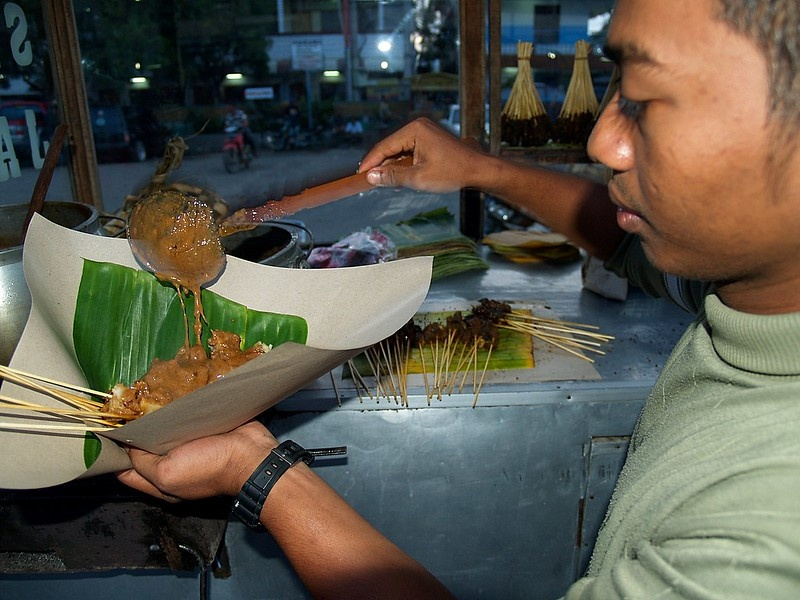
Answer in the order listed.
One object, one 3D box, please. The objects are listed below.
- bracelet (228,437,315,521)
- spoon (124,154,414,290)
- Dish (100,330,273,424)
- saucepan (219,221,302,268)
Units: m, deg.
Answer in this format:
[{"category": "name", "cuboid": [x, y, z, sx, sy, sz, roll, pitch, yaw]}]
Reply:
[{"category": "bracelet", "cuboid": [-0.284, 0.388, 1.511, 0.052, 0.145, 0.125, 38, -7, 20]}, {"category": "spoon", "cuboid": [-0.341, -0.224, 1.805, 0.707, 0.207, 0.273, -28, 8, -30]}, {"category": "Dish", "cuboid": [-0.516, 0.168, 1.664, 0.323, 0.078, 0.199, -27, 26, -39]}, {"category": "saucepan", "cuboid": [-0.481, -0.199, 2.354, 0.349, 0.123, 0.357, -2, 10, -20]}]
